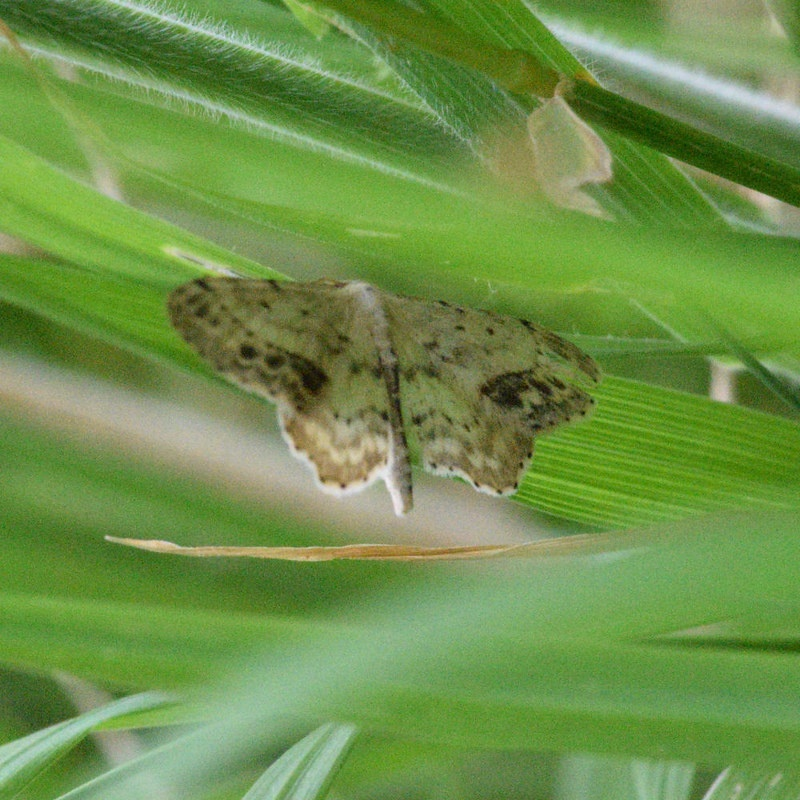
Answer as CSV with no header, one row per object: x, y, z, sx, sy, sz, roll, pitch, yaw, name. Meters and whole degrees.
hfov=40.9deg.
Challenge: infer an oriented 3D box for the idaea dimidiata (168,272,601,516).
-0.008,-0.006,0.413,0.038,0.066,0.167,0,-6,36,idaea dimidiata
